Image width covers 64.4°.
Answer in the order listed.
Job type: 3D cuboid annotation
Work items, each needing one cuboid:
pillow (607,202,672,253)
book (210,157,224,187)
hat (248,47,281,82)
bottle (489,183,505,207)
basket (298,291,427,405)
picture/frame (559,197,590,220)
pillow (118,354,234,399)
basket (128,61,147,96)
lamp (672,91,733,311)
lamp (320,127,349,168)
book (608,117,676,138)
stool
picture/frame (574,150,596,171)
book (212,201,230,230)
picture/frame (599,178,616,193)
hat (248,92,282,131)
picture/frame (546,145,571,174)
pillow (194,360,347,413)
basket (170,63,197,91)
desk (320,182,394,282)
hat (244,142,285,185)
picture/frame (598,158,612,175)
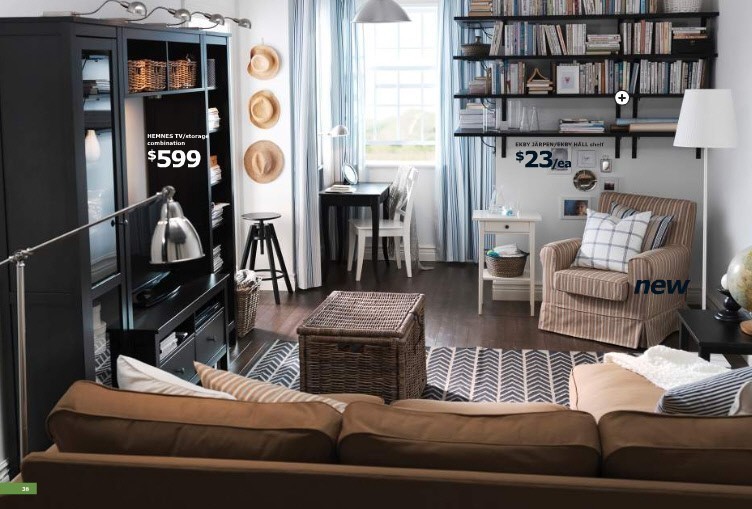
[{"bbox_3d":[2.307,-0.202,4.984,0.379,0.404,0.119,18,2,27],"label":"pillow"},{"bbox_3d":[-1.197,-0.631,4.525,0.140,0.206,0.066,0,-3,-16],"label":"book"},{"bbox_3d":[-1.074,-1.858,5.791,0.334,0.330,0.115,4,14,15],"label":"hat"},{"bbox_3d":[1.177,-0.575,5.803,0.184,0.292,0.182,1,4,0],"label":"bottle"},{"bbox_3d":[-0.055,0.569,3.904,0.650,0.556,0.695,0,9,8],"label":"basket"},{"bbox_3d":[1.903,-0.453,5.691,0.220,0.198,0.010,0,8,4],"label":"picture/frame"},{"bbox_3d":[-0.764,0.445,2.174,0.235,0.078,0.252,24,-1,-20],"label":"pillow"},{"bbox_3d":[-1.356,-1.005,3.390,0.071,0.172,0.188,-1,14,-3],"label":"basket"},{"bbox_3d":[2.588,-0.383,4.796,0.391,1.820,1.077,7,16,30],"label":"lamp"},{"bbox_3d":[-0.446,-1.219,6.755,0.312,0.459,0.523,-1,14,-2],"label":"lamp"},{"bbox_3d":[2.419,-1.150,5.429,0.547,0.136,0.072,2,14,10],"label":"book"},{"bbox_3d":[-1.033,0.042,5.778,0.510,0.854,0.541,-17,26,-35],"label":"stool"},{"bbox_3d":[1.990,-0.909,5.663,0.174,0.181,0.018,0,6,5],"label":"picture/frame"},{"bbox_3d":[-1.180,-0.302,4.528,0.056,0.166,0.155,19,7,1],"label":"book"},{"bbox_3d":[2.200,-0.666,5.648,0.142,0.132,0.011,1,12,8],"label":"picture/frame"},{"bbox_3d":[-1.076,-1.418,5.851,0.288,0.363,0.115,-4,16,16],"label":"hat"},{"bbox_3d":[1.750,-0.924,5.682,0.253,0.365,0.025,0,11,6],"label":"picture/frame"},{"bbox_3d":[-0.448,0.599,2.729,0.659,0.145,0.194,12,37,11],"label":"pillow"},{"bbox_3d":[-1.250,-1.169,3.898,0.138,0.093,0.206,-1,7,-9],"label":"basket"},{"bbox_3d":[-0.210,-0.282,6.673,0.744,0.985,1.110,0,14,1],"label":"desk"},{"bbox_3d":[-1.096,-0.922,5.947,0.385,0.421,0.109,2,14,9],"label":"hat"},{"bbox_3d":[2.164,-0.836,5.638,0.126,0.200,0.133,0,3,13],"label":"picture/frame"}]
